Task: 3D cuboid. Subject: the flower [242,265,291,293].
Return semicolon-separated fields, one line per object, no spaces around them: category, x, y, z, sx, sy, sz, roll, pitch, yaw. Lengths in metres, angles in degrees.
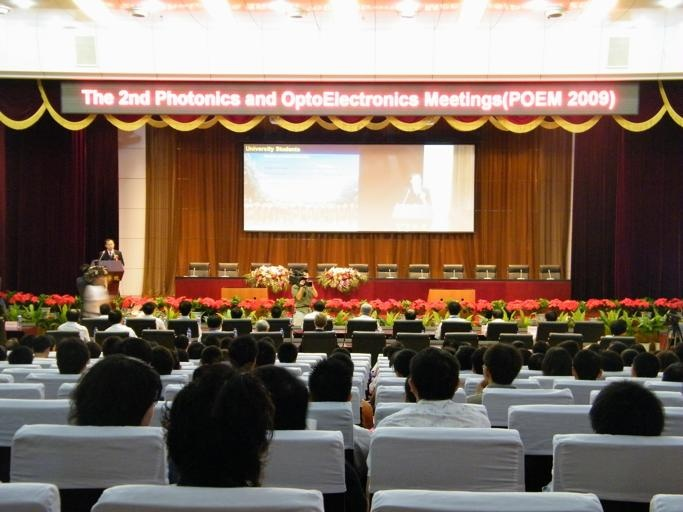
flower;-1.323;0.342;13.210;0.599;0.376;0.617;5;5;9

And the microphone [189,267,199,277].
microphone;-3.112;0.346;14.308;0.193;0.226;0.203;0;-3;-2

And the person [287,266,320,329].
person;-0.602;0.937;11.411;0.383;1.313;0.398;1;-10;-42

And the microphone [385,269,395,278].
microphone;1.019;0.355;14.109;0.165;0.192;0.168;0;-2;-6

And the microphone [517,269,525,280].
microphone;3.692;0.375;14.035;0.184;0.225;0.059;-2;-7;26

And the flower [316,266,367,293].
flower;0.017;0.464;13.126;0.938;0.505;0.338;1;-4;-4

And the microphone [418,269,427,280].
microphone;1.667;0.369;14.113;0.174;0.184;0.173;0;-1;0

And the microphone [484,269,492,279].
microphone;3.069;0.377;14.189;0.179;0.191;0.120;-2;-6;-5

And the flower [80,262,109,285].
flower;-3.919;0.303;10.771;0.371;0.307;0.323;1;-4;-2

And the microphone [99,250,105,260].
microphone;-4.794;-0.017;13.662;0.151;0.225;0.063;-11;-25;31

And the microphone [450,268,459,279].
microphone;2.342;0.374;14.137;0.187;0.220;0.193;0;-1;-2

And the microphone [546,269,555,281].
microphone;4.270;0.428;14.010;0.159;0.301;0.078;-1;-41;9
